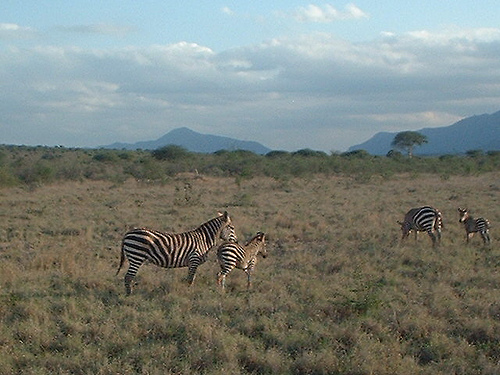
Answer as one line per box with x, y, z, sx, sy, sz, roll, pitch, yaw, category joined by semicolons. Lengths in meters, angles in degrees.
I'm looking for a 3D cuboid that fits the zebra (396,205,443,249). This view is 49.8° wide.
7.535;1.796;23.949;0.801;1.741;2.625;-2;-4;-25;zebra

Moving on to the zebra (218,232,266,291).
-0.268;2.823;19.731;0.673;2.015;2.545;3;0;42;zebra

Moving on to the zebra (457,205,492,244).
9.819;1.723;23.660;1.139;1.380;1.506;2;4;-5;zebra
